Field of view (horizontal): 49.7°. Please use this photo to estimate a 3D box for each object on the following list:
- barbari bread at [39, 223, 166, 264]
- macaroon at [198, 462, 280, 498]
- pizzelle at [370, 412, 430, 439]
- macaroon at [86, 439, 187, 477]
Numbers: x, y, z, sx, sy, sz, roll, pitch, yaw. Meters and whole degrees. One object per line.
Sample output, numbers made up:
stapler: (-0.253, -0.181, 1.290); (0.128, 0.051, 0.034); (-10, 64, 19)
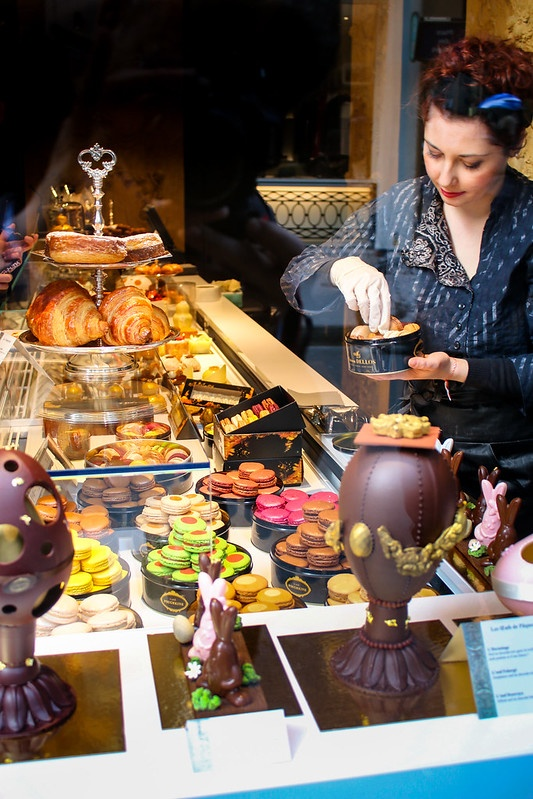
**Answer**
barbari bread: (-0.343, -0.307, 1.202); (0.303, 0.092, 0.405); (-4, 13, -14)
macaroon: (-0.064, 0.178, 1.262); (0.139, 0.046, 0.143); (-2, 7, -14)
pizzelle: (0.142, 0.023, 0.608); (0.036, 0.010, 0.035); (0, 11, -13)
macaroon: (-0.191, 0.081, 0.836); (0.114, 0.037, 0.119); (14, 23, 39)
